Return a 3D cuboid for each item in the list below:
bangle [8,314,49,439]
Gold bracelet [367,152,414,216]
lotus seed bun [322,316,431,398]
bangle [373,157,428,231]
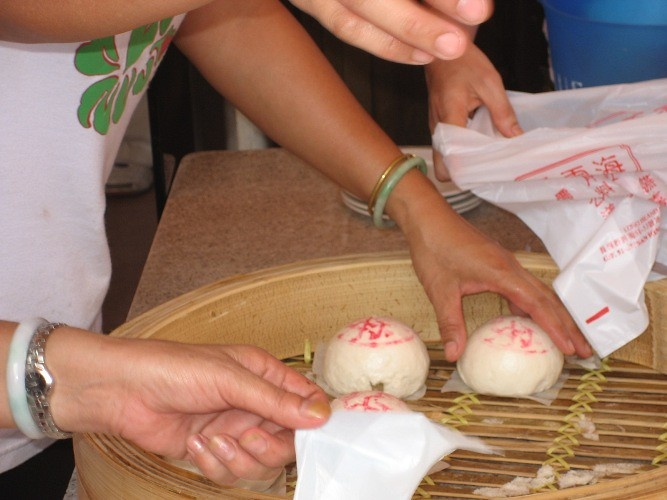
[{"bbox_3d":[-0.298,0.121,0.545,0.052,0.083,0.072,-3,18,-18],"label":"bangle"},{"bbox_3d":[0.077,-0.109,0.928,0.017,0.084,0.087,33,38,18],"label":"Gold bracelet"},{"bbox_3d":[0.054,0.144,0.756,0.130,0.099,0.124,-3,19,-36],"label":"lotus seed bun"},{"bbox_3d":[0.106,-0.097,0.897,0.048,0.125,0.058,-10,27,-23],"label":"bangle"}]
